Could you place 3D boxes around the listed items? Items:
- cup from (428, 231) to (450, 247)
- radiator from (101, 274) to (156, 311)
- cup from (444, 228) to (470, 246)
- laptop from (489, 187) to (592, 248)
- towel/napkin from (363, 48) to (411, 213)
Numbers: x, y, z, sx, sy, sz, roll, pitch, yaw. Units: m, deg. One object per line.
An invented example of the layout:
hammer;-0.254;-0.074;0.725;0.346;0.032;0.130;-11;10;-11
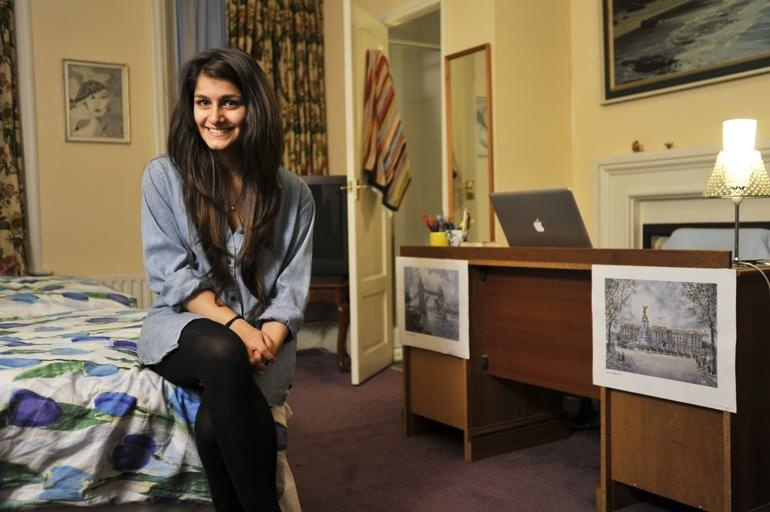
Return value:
cup;0.325;-0.095;3.310;0.090;0.069;0.092;0;-3;0
radiator;-1.874;0.254;4.032;0.355;0.372;0.025;-1;7;-7
cup;0.410;-0.107;3.278;0.110;0.097;0.092;1;-5;10
laptop;0.749;-0.164;2.665;0.301;0.295;0.403;-30;16;-35
towel/napkin;-0.005;-0.972;4.307;0.212;1.254;0.572;2;7;21
